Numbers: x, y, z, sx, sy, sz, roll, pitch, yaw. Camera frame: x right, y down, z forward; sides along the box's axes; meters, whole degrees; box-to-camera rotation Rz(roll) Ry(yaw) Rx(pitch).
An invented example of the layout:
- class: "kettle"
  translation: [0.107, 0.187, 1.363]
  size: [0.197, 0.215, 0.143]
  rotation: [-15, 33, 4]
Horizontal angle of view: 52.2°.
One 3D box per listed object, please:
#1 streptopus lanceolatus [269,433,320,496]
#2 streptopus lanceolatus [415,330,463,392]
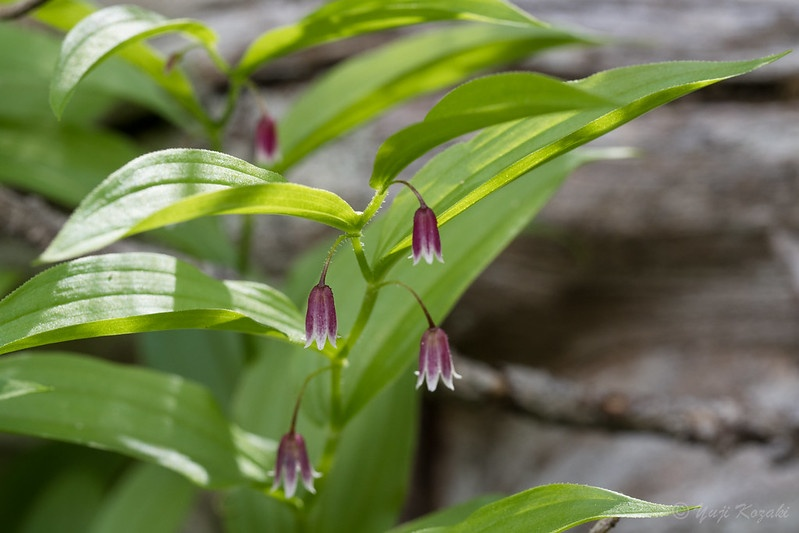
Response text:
- class: "streptopus lanceolatus"
  translation: [-0.358, 0.643, 2.758]
  size: [0.227, 0.269, 0.199]
  rotation: [2, -13, -7]
- class: "streptopus lanceolatus"
  translation: [0.112, 0.269, 2.707]
  size: [0.154, 0.257, 0.158]
  rotation: [-4, -4, 29]
